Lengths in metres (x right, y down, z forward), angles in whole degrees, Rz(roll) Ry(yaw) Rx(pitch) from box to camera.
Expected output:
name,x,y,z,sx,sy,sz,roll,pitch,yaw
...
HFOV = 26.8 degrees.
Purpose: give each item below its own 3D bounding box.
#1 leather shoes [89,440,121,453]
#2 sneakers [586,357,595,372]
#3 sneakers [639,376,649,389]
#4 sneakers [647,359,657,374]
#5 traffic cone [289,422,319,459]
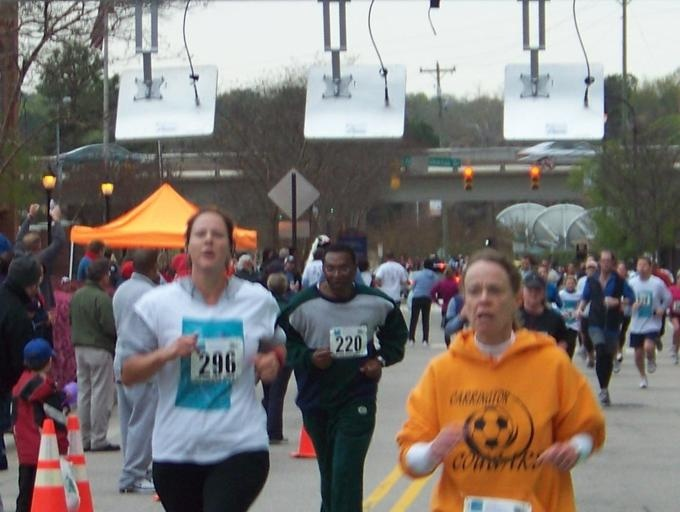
name,x,y,z,sx,sy,sz,roll,pitch,yaw
leather shoes,-3.558,2.922,21.826,0.464,0.250,0.179,-2,1,-18
sneakers,5.153,2.232,29.522,0.089,0.250,0.310,-1,-8,3
sneakers,5.688,2.399,26.950,0.097,0.277,0.327,-4,-5,19
sneakers,6.362,2.225,29.231,0.129,0.231,0.484,-1,12,11
traffic cone,-0.509,2.682,21.413,0.491,0.733,0.597,0,-4,-3
